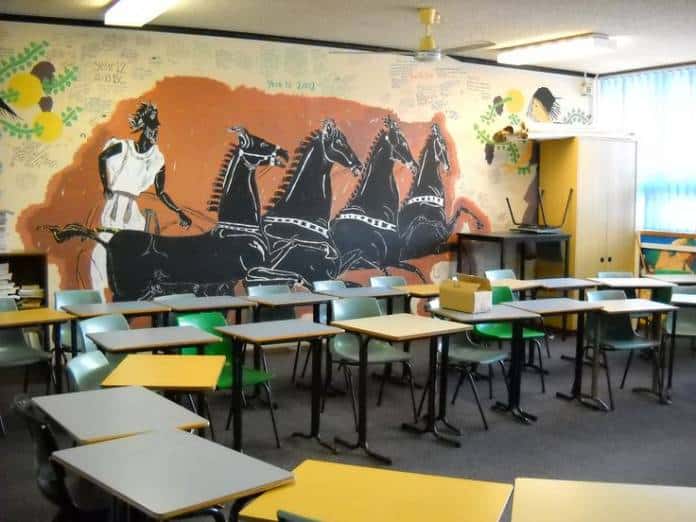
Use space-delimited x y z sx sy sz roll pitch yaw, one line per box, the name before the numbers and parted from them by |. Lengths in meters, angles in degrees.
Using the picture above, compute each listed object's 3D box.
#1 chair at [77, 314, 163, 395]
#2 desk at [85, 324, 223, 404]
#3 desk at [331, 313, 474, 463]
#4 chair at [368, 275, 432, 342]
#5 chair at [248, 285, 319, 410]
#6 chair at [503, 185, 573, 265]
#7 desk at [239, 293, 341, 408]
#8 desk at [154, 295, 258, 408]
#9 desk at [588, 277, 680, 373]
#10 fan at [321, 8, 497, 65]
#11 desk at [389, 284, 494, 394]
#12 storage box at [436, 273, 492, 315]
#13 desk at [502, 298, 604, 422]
chair | -1.645 0.593 4.300 0.344 0.540 0.396 -2 0 -41
desk | -1.385 0.522 4.076 0.727 0.365 0.550 -4 24 -30
desk | 0.489 0.994 5.008 1.125 1.247 1.066 -2 4 -37
chair | 0.648 0.382 6.499 0.419 0.698 0.514 1 -4 -21
chair | -0.747 0.763 6.015 0.947 1.347 0.949 -1 4 -25
chair | 2.679 -0.664 8.212 0.878 0.634 0.568 1 1 -16
desk | -0.600 0.854 5.969 1.121 1.267 0.925 -1 2 -22
desk | -1.074 0.685 4.393 0.921 0.215 0.651 -4 15 -26
desk | 3.406 0.703 6.805 0.772 0.703 0.948 0 7 -6
fan | 0.941 -2.229 5.873 0.990 0.355 0.977 7 11 37
desk | 0.885 0.740 5.421 1.016 0.921 0.995 -3 6 -27
storage box | 1.046 0.289 5.203 0.216 0.301 0.426 -7 9 -35
desk | 2.020 0.883 5.821 1.019 1.030 0.919 -4 10 -21
